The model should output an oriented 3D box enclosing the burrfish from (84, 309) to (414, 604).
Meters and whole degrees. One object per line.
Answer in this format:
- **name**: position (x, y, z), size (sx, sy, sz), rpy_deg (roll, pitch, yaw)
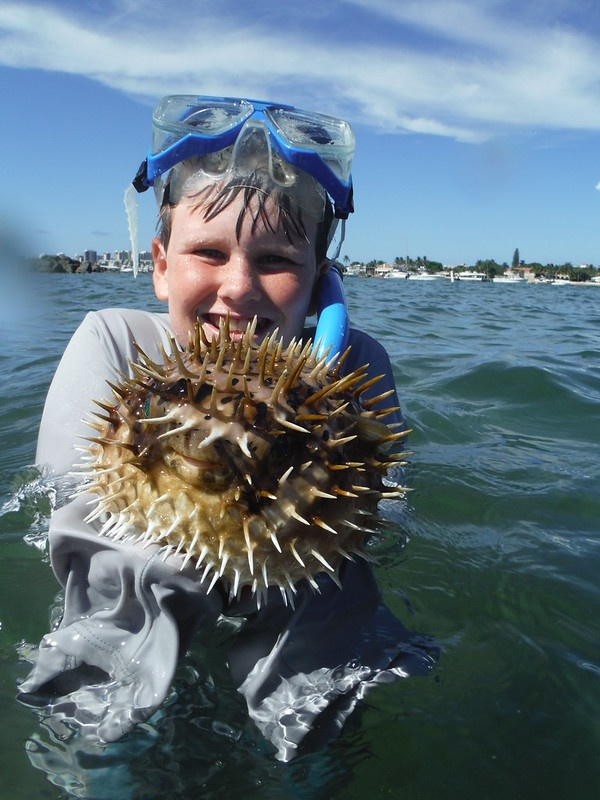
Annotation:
- **burrfish**: position (-0.065, 0.097, 1.664), size (0.740, 0.465, 0.674), rpy_deg (2, 11, 7)
